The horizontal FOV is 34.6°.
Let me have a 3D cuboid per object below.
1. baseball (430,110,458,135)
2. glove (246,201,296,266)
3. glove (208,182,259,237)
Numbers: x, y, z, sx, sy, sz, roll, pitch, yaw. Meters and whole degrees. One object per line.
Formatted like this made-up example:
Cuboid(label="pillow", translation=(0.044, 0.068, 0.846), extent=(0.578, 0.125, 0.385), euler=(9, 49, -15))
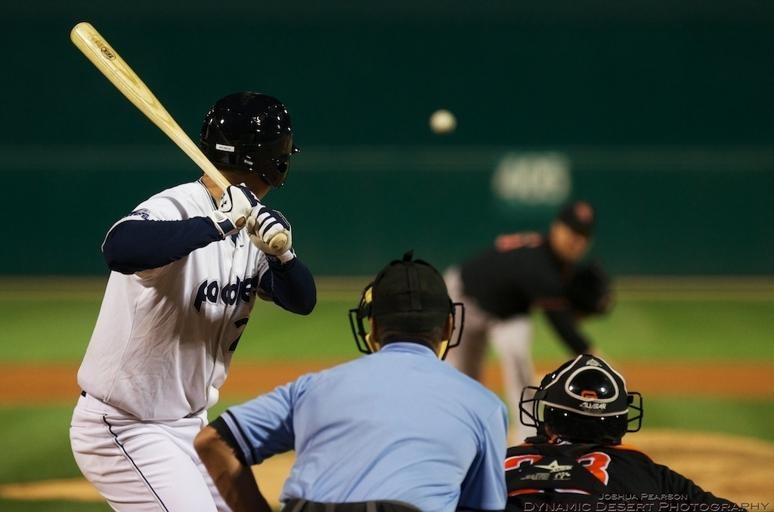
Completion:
Cuboid(label="baseball", translation=(0.643, -1.526, 14.328), extent=(0.306, 0.271, 0.146), euler=(-3, -40, 1))
Cuboid(label="glove", translation=(-0.870, -0.185, 9.880), extent=(0.342, 0.432, 0.172), euler=(-11, 30, 44))
Cuboid(label="glove", translation=(-1.206, -0.347, 9.764), extent=(0.170, 0.398, 0.387), euler=(36, 15, -46))
